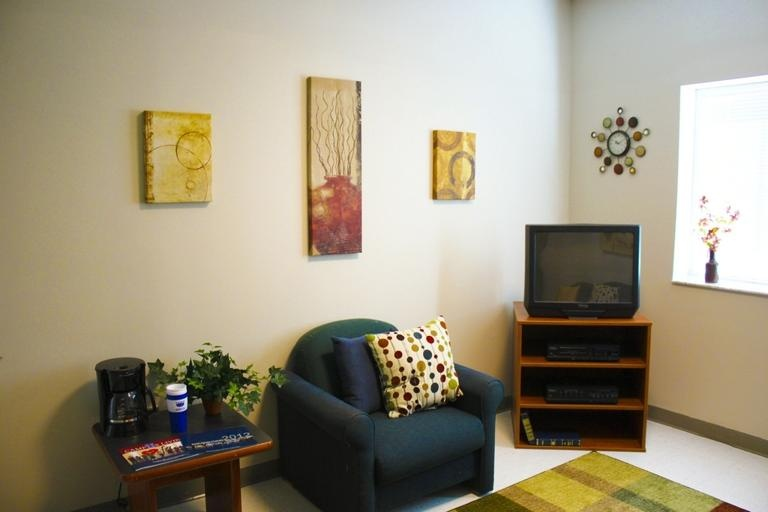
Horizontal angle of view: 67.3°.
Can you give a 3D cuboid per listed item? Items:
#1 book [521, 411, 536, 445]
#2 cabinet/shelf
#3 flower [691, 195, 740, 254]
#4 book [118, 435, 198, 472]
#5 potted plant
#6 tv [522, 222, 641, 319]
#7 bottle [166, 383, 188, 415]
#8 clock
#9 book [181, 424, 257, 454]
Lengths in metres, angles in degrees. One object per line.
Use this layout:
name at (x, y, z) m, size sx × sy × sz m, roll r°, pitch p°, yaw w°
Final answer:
book at (1.141, 1.347, 4.518) m, size 0.044 × 0.196 × 0.197 m, roll -8°, pitch -3°, yaw 14°
cabinet/shelf at (1.522, 0.954, 4.594) m, size 0.992 × 0.960 × 0.750 m, roll 0°, pitch 4°, yaw 10°
flower at (2.699, -0.263, 4.633) m, size 0.311 × 0.465 × 0.212 m, roll 2°, pitch 6°, yaw 29°
book at (-1.285, 1.108, 3.245) m, size 0.355 × 0.075 × 0.230 m, roll -3°, pitch 4°, yaw -25°
potted plant at (-1.095, 0.811, 3.653) m, size 0.673 × 0.374 × 0.431 m, roll 5°, pitch 6°, yaw -4°
tv at (1.591, 0.129, 4.635) m, size 0.837 × 0.747 × 0.402 m, roll -1°, pitch 6°, yaw 13°
bottle at (-1.222, 0.853, 3.459) m, size 0.151 × 0.226 × 0.150 m, roll 1°, pitch -2°, yaw 0°
clock at (2.068, -0.984, 4.937) m, size 0.060 × 0.710 × 0.623 m, roll -3°, pitch 4°, yaw -40°
book at (-0.968, 1.073, 3.376) m, size 0.420 × 0.065 × 0.215 m, roll -2°, pitch 4°, yaw -16°
